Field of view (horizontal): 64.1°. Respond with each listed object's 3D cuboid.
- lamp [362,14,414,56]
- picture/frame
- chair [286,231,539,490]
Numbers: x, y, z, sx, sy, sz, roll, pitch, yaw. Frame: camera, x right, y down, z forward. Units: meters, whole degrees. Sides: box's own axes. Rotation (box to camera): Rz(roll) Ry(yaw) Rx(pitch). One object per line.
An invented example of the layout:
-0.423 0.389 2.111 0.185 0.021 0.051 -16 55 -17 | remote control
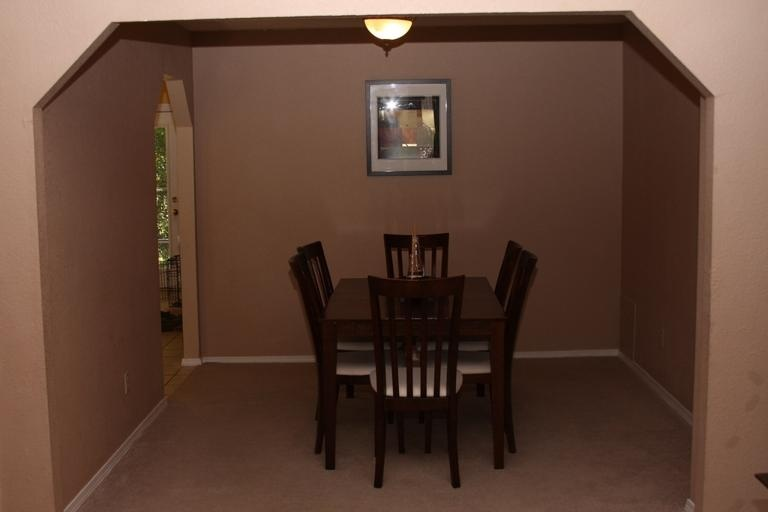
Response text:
0.045 -1.532 4.251 0.280 0.225 0.303 10 19 19 | lamp
0.207 -1.058 5.090 0.699 0.776 0.039 -1 -1 -10 | picture/frame
0.204 0.518 4.017 1.217 0.859 1.666 0 5 5 | chair
